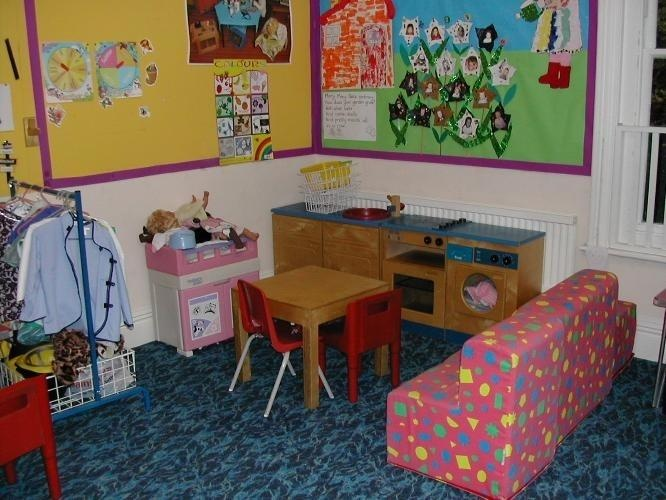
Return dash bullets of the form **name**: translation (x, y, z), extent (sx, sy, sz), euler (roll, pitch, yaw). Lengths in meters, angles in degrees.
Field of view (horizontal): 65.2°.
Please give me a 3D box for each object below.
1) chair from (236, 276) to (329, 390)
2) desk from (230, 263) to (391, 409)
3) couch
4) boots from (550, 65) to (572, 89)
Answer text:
- **chair**: translation (-0.342, 0.566, 3.544), extent (0.574, 0.881, 0.535), euler (-9, 14, -33)
- **desk**: translation (-0.134, 0.380, 3.759), extent (0.892, 0.869, 0.907), euler (10, 16, 42)
- **couch**: translation (1.000, 0.713, 2.932), extent (1.352, 0.889, 0.634), euler (-14, 20, -34)
- **boots**: translation (1.707, -1.334, 4.003), extent (0.096, 0.200, 0.180), euler (-16, 25, -37)
